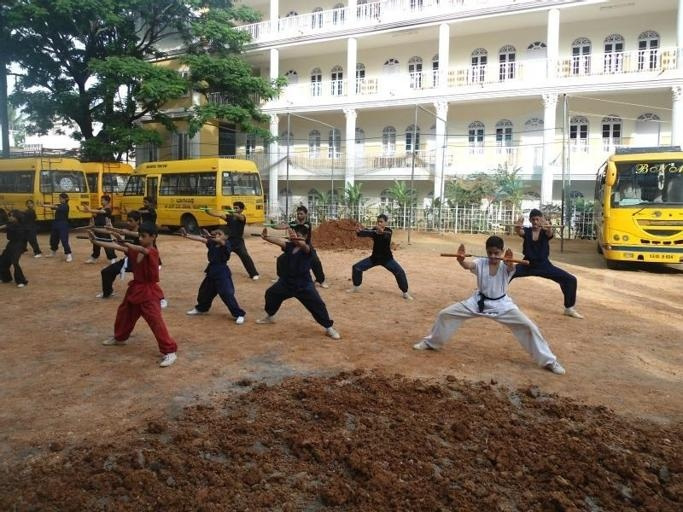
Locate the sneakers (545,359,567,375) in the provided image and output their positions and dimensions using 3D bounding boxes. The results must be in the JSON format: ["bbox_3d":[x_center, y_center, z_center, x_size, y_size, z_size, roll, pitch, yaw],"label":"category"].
[{"bbox_3d":[2.930,1.543,6.909,0.142,0.136,0.347,-4,5,-35],"label":"sneakers"}]

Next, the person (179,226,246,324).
[{"bbox_3d":[-2.170,0.334,8.582,1.113,1.581,0.591,11,15,36],"label":"person"}]

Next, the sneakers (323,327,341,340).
[{"bbox_3d":[-0.137,1.240,7.994,0.299,0.123,0.118,16,17,32],"label":"sneakers"}]

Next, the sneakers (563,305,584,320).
[{"bbox_3d":[4.569,1.099,9.736,0.448,0.276,0.161,3,10,18],"label":"sneakers"}]

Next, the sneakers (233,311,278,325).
[{"bbox_3d":[-1.495,1.059,8.617,0.742,0.279,0.223,4,-4,-1],"label":"sneakers"}]

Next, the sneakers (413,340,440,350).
[{"bbox_3d":[1.282,1.358,7.602,0.403,0.156,0.141,4,0,13],"label":"sneakers"}]

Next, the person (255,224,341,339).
[{"bbox_3d":[-0.732,0.391,8.004,1.399,1.755,0.571,8,14,28],"label":"person"}]

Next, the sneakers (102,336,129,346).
[{"bbox_3d":[-3.354,1.257,7.285,0.381,0.141,0.147,11,0,-13],"label":"sneakers"}]

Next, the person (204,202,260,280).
[{"bbox_3d":[-2.636,-0.384,11.690,1.376,1.701,0.925,3,9,-1],"label":"person"}]

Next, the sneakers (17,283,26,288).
[{"bbox_3d":[-6.990,0.639,10.795,0.099,0.089,0.246,-2,-2,-34],"label":"sneakers"}]

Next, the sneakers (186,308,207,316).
[{"bbox_3d":[-2.627,1.012,8.996,0.371,0.141,0.128,9,3,-20],"label":"sneakers"}]

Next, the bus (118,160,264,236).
[{"bbox_3d":[-7.101,-2.847,22.373,7.334,2.988,3.501,7,9,27],"label":"bus"}]

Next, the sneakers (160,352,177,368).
[{"bbox_3d":[-2.356,1.376,6.709,0.220,0.145,0.314,-1,11,-17],"label":"sneakers"}]
